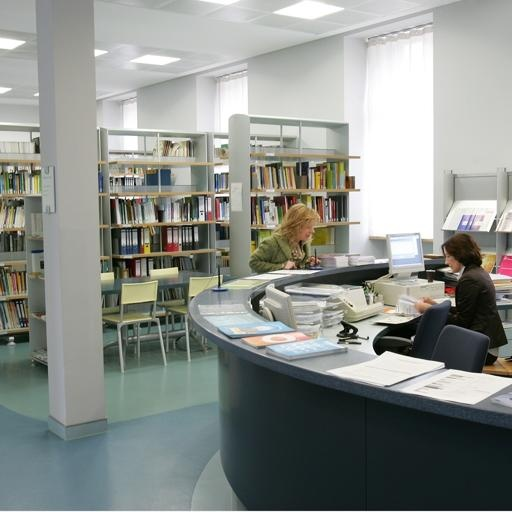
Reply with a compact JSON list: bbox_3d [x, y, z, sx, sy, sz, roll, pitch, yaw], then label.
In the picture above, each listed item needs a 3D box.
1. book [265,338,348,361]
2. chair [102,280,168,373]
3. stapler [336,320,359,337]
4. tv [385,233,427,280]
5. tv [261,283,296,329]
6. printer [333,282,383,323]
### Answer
[{"bbox_3d":[0.175,0.319,1.630,0.324,0.027,0.196,-3,4,-37],"label":"book"},{"bbox_3d":[-1.514,0.668,5.712,0.680,0.873,2.268,-2,4,-16],"label":"chair"},{"bbox_3d":[0.519,0.413,2.694,0.110,0.095,0.178,-1,3,8],"label":"stapler"},{"bbox_3d":[1.243,0.013,3.885,0.489,0.404,0.162,-5,-3,-31],"label":"tv"},{"bbox_3d":[0.104,0.251,2.307,0.070,0.116,0.232,-8,11,-13],"label":"tv"},{"bbox_3d":[0.687,0.338,3.180,0.262,0.176,0.357,0,5,37],"label":"printer"}]
